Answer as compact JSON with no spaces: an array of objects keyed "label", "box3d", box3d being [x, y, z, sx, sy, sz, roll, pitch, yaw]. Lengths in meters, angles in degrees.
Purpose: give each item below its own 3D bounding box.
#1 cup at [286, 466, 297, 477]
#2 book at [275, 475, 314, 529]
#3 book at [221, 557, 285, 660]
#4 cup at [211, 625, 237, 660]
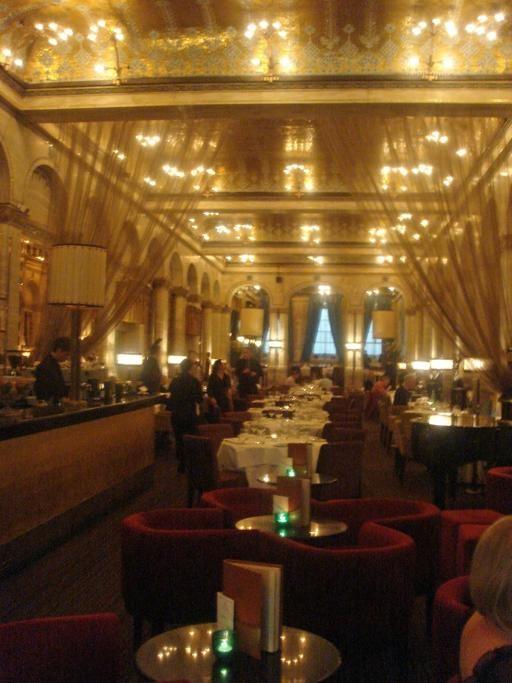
[{"label":"cup","box3d":[0.216,0.769,3.276,0.052,0.041,0.052,1,-4,0]},{"label":"book","box3d":[0.199,0.835,2.917,0.103,0.272,0.208,-2,2,-38]},{"label":"book","box3d":[-0.016,0.618,1.263,0.133,0.221,0.091,3,-3,5]},{"label":"cup","box3d":[-0.068,0.684,1.265,0.062,0.068,0.064,1,-5,0]}]
